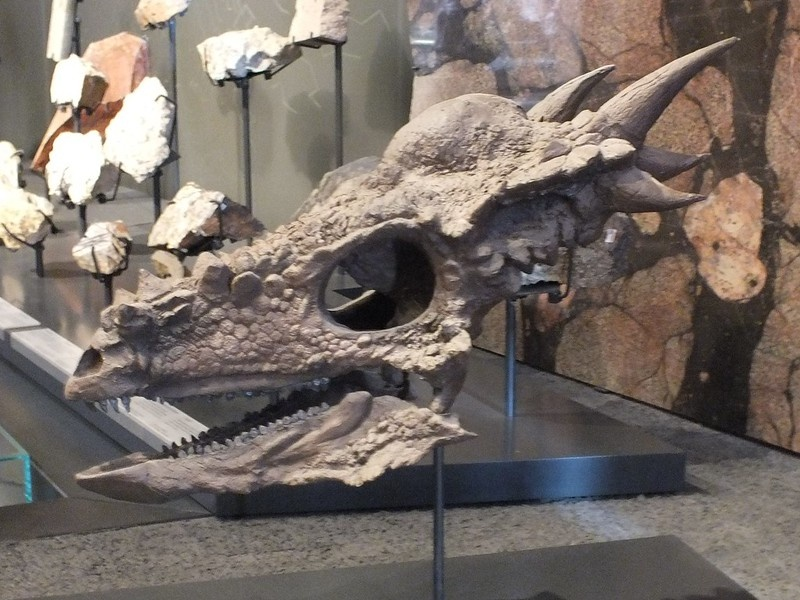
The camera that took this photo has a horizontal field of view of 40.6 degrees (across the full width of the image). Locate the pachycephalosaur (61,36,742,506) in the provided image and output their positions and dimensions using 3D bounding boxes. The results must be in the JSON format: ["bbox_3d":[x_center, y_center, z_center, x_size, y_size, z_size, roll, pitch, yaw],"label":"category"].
[{"bbox_3d":[0.065,-0.037,3.362,2.130,0.853,0.635,-14,6,-18],"label":"pachycephalosaur"}]
